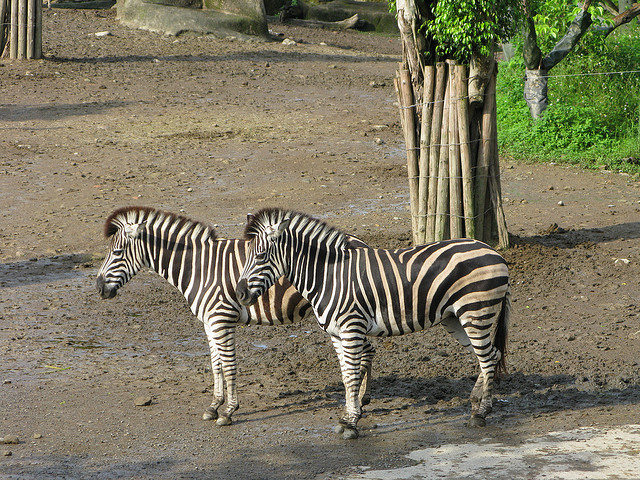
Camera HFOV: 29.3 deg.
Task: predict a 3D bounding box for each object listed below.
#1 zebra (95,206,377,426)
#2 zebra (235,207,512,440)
[{"bbox_3d":[-0.885,0.912,15.119,3.766,2.587,0.989,-1,-2,13],"label":"zebra"},{"bbox_3d":[0.626,1.165,15.168,2.916,2.120,0.886,-1,8,0],"label":"zebra"}]
